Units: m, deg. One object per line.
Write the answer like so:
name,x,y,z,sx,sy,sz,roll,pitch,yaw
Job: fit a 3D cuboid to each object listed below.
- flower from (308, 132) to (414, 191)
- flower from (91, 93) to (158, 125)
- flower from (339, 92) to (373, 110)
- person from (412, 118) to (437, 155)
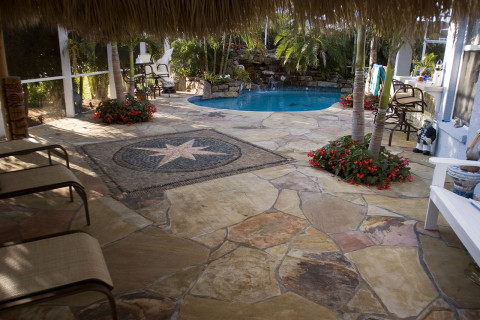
flower,2.123,0.018,4.959,1.018,0.613,1.399,-26,35,-33
flower,-3.452,-1.418,8.438,1.180,0.562,1.142,-12,23,-32
flower,4.376,-2.188,11.014,0.941,0.466,1.626,-7,18,-20
person,3.892,-0.477,6.059,0.361,0.706,0.367,11,22,31
